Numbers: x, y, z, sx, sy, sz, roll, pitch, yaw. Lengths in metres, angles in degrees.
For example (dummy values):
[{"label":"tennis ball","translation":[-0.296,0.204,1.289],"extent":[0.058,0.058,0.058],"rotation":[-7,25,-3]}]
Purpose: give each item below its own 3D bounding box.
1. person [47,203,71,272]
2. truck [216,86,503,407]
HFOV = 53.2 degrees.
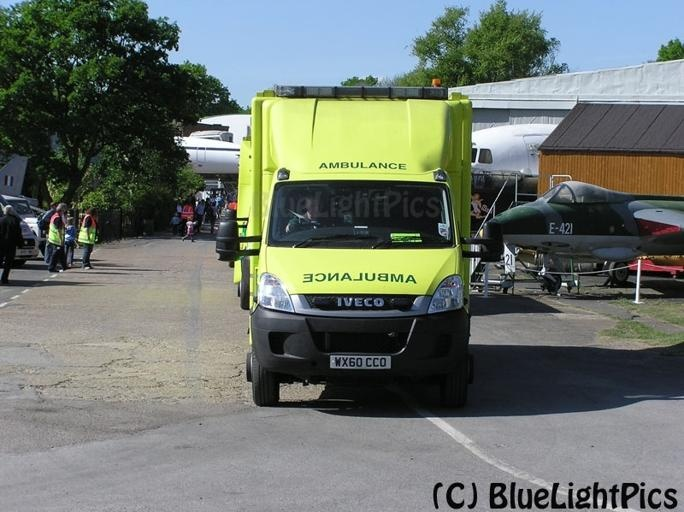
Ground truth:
[{"label":"person","translation":[-9.347,-0.620,22.510],"extent":[0.618,2.230,1.503],"rotation":[1,1,-22]},{"label":"truck","translation":[0.165,-0.413,9.679],"extent":[2.468,2.819,4.847],"rotation":[0,-1,2]}]
